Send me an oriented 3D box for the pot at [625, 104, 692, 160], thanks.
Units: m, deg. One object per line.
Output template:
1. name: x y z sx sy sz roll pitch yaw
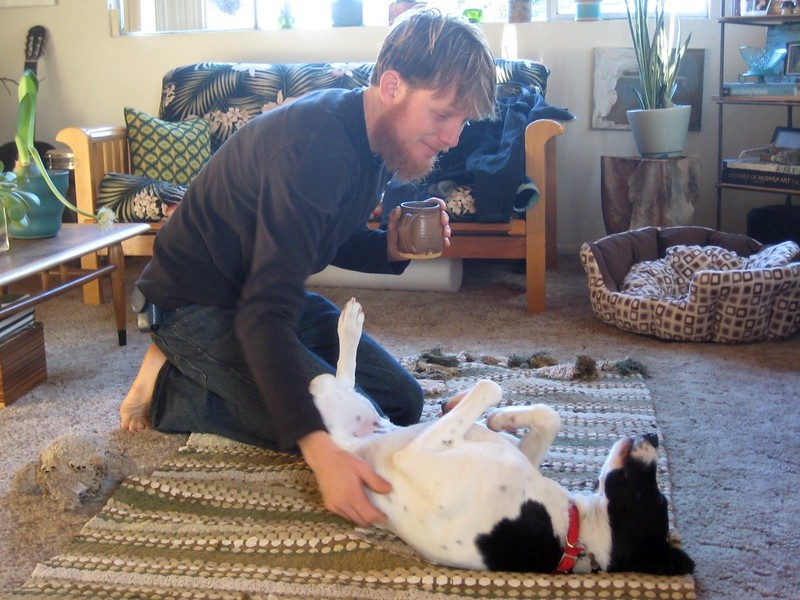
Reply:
1. pot: 1.350 -0.851 3.424 0.323 0.244 0.312 -3 14 1

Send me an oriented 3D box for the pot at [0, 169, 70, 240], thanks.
1. pot: -1.350 -0.353 2.496 0.223 0.228 0.208 -3 12 1

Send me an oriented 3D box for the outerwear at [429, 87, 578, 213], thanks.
1. outerwear: 0.446 -0.650 3.063 0.559 0.245 0.679 -27 32 -24

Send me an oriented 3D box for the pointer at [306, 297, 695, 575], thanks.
1. pointer: 0.166 0.374 1.487 0.868 0.364 0.549 14 64 16

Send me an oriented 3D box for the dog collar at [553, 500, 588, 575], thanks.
1. dog collar: 0.352 0.498 1.378 0.042 0.115 0.086 -1 -8 -9

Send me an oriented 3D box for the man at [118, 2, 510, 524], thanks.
1. man: -0.227 -0.149 1.837 0.899 1.196 0.759 13 11 28

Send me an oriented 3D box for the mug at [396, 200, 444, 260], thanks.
1. mug: 0.049 -0.213 2.099 0.151 0.170 0.249 5 16 24

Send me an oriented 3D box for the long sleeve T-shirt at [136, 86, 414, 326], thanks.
1. long sleeve T-shirt: -0.281 -0.170 1.702 0.524 0.690 0.795 -16 22 -37

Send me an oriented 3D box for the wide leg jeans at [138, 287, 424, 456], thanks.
1. wide leg jeans: -0.363 0.222 1.859 0.655 0.274 0.453 3 13 10
